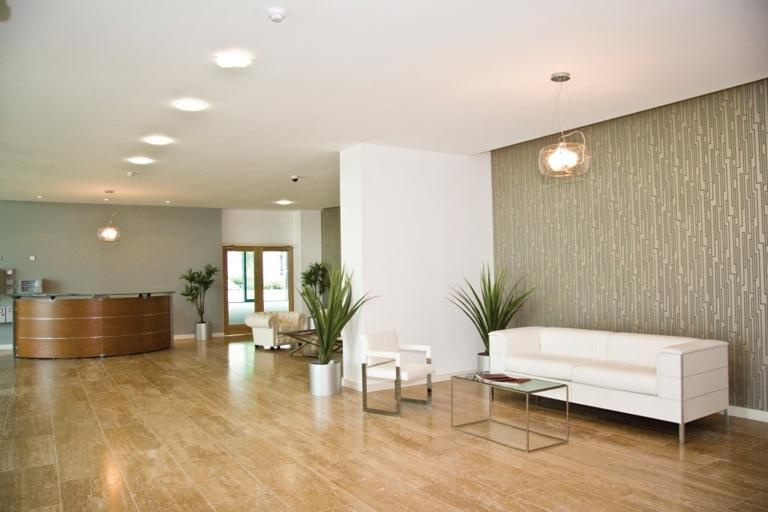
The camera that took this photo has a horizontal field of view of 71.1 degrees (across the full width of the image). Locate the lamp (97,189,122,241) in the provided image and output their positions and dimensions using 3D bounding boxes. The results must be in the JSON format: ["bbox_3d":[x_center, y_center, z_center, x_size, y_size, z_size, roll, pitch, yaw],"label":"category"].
[{"bbox_3d":[-6.193,-0.854,11.960,0.389,1.092,1.962,-3,4,-27],"label":"lamp"}]

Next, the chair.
[{"bbox_3d":[0.178,1.531,7.133,0.889,0.963,0.840,1,-3,-38],"label":"chair"}]

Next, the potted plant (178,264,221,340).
[{"bbox_3d":[-4.641,1.127,13.467,0.911,1.839,0.801,-3,4,-21],"label":"potted plant"}]

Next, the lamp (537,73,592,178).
[{"bbox_3d":[2.140,-1.622,6.469,0.613,1.127,0.618,2,-6,-8],"label":"lamp"}]

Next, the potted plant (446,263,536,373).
[{"bbox_3d":[1.953,1.008,9.144,1.492,1.804,1.502,3,-3,-32],"label":"potted plant"}]

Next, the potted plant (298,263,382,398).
[{"bbox_3d":[-0.784,1.093,7.785,0.602,1.782,0.999,3,5,41],"label":"potted plant"}]
